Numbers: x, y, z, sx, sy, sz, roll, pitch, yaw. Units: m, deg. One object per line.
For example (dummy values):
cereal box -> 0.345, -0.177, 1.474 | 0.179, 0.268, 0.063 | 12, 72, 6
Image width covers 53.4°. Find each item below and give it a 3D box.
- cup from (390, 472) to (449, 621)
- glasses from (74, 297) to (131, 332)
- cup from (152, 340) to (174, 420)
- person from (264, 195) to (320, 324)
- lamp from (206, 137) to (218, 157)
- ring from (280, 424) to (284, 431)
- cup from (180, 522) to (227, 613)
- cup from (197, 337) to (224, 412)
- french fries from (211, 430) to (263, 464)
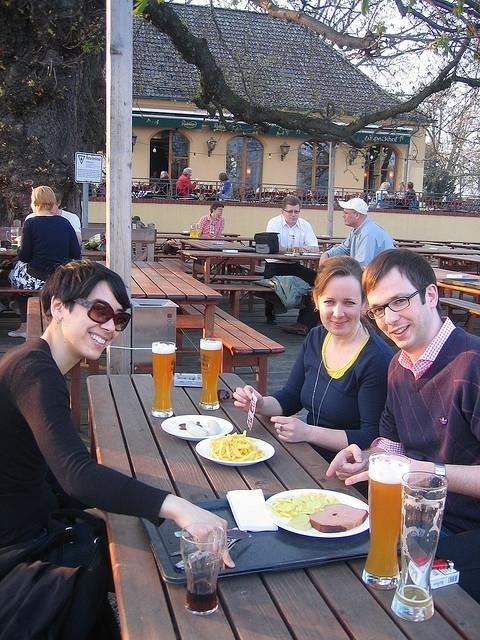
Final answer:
cup -> 0.312, 0.373, 0.830 | 0.073, 0.223, 0.168 | 3, 7, 24
glasses -> -0.422, -0.016, 1.478 | 0.122, 0.095, 0.106 | 3, 16, -3
cup -> -0.302, 0.225, 1.874 | 0.091, 0.271, 0.149 | -1, 12, -14
person -> 0.833, -1.090, 7.812 | 0.925, 2.184, 0.905 | -1, 17, -11
lamp -> -1.063, -6.666, 18.364 | 0.383, 0.657, 0.497 | 0, 7, -3
ring -> 0.149, 0.388, 1.721 | 0.019, 0.020, 0.018 | 2, 11, 0
cup -> -0.062, 0.421, 0.803 | 0.102, 0.163, 0.109 | 2, 11, 0
cup -> -0.129, 0.211, 1.992 | 0.128, 0.275, 0.140 | 2, 19, -1
french fries -> 0.001, 0.396, 1.552 | 0.122, 0.072, 0.152 | -3, 12, -21
